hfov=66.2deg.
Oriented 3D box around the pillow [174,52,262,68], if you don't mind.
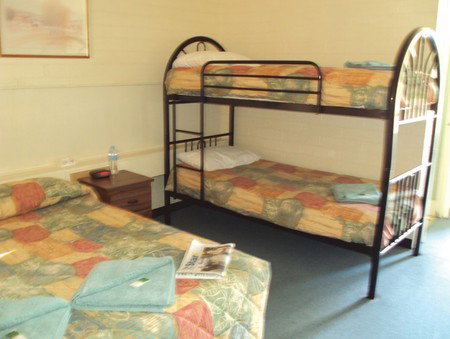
[{"bbox_3d":[-0.137,-1.396,4.451,0.586,0.140,0.557,15,23,39],"label":"pillow"}]
